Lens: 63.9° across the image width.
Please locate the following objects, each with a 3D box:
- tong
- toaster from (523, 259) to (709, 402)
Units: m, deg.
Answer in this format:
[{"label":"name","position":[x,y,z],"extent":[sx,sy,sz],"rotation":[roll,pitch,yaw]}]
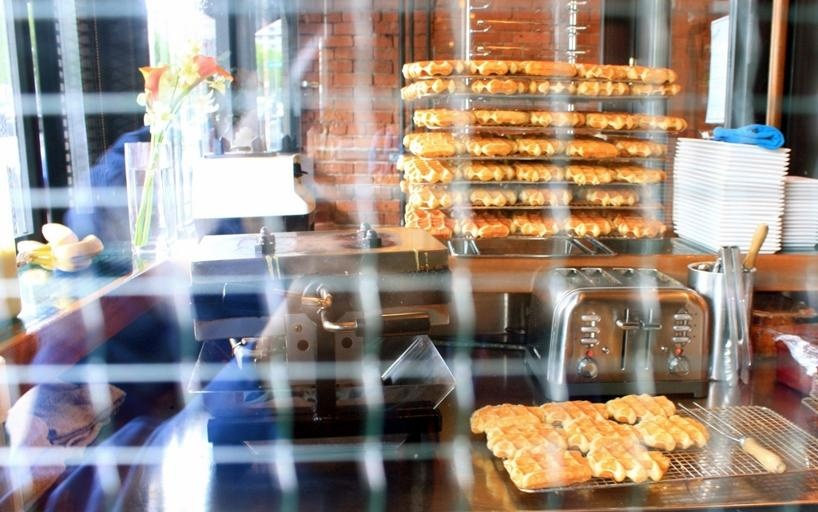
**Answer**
[{"label":"tong","position":[0.987,0.182,1.982],"extent":[0.080,0.411,0.088],"rotation":[-1,12,15]},{"label":"toaster","position":[0.617,0.214,1.925],"extent":[0.446,0.234,0.426],"rotation":[0,1,0]}]
